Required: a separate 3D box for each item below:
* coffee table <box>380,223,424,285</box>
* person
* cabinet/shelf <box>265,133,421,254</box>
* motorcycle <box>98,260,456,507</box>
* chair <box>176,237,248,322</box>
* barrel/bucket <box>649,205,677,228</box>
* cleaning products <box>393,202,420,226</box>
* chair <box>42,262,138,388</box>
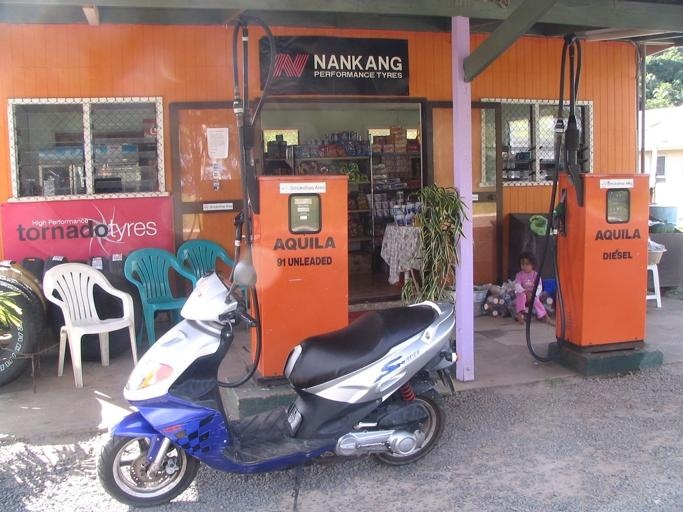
[{"bbox_3d":[0.854,0.025,7.643,0.567,0.819,0.578,19,-22,-28],"label":"coffee table"},{"bbox_3d":[2.285,0.456,6.917,0.439,0.889,1.057,-1,8,3],"label":"person"},{"bbox_3d":[0.105,-0.888,7.998,1.885,2.066,0.665,-2,5,-7],"label":"cabinet/shelf"},{"bbox_3d":[-0.389,0.583,4.534,2.843,2.028,1.143,-3,18,-11],"label":"motorcycle"},{"bbox_3d":[-1.594,0.258,7.224,0.553,0.729,0.576,6,6,-36],"label":"chair"},{"bbox_3d":[5.165,-0.630,9.333,0.419,0.264,0.424,6,-27,3],"label":"barrel/bucket"},{"bbox_3d":[0.871,-0.550,7.690,0.275,0.331,0.107,13,2,5],"label":"cleaning products"},{"bbox_3d":[-2.511,0.635,5.781,0.717,1.160,0.755,2,5,40],"label":"chair"}]
